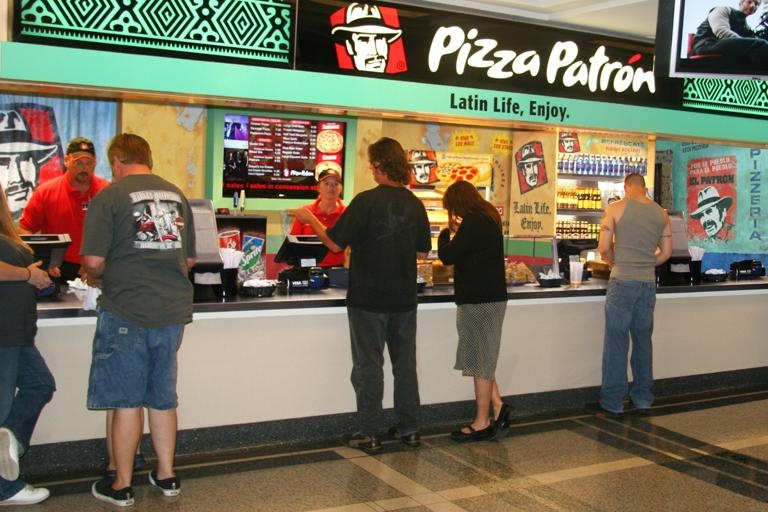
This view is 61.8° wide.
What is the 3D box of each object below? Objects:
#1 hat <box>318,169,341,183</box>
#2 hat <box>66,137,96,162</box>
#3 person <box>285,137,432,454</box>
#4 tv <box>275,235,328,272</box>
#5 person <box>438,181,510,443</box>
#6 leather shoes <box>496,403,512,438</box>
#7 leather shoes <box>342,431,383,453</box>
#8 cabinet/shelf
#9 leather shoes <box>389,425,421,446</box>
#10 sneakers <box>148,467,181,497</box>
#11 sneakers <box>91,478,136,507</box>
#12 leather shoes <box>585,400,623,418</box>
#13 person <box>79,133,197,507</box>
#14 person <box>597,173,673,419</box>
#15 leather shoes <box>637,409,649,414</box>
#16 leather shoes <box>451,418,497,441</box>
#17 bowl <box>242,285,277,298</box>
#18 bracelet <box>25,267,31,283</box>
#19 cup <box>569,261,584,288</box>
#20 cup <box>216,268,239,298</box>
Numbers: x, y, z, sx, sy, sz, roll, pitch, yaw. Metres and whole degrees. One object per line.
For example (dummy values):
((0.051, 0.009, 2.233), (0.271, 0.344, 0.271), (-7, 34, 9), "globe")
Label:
((-0.536, -0.804, 6.203), (0.292, 0.139, 0.450), (0, 4, -6), "hat")
((-2.653, -0.942, 5.612), (0.211, 0.150, 0.286), (1, 0, -31), "hat")
((-0.037, 0.295, 4.841), (0.794, 2.312, 0.458), (-1, 11, -13), "person")
((-0.694, -0.025, 5.310), (0.429, 0.249, 0.322), (1, -12, -44), "tv")
((0.715, 0.434, 5.075), (0.631, 2.020, 0.386), (2, 11, 4), "person")
((0.944, 1.299, 5.095), (0.114, 0.275, 0.097), (19, 5, 25), "leather shoes")
((-0.169, 1.406, 4.905), (0.271, 0.108, 0.125), (11, 9, 31), "leather shoes")
((2.699, -1.059, 9.346), (1.788, 1.613, 0.645), (9, 11, 37), "cabinet/shelf")
((0.142, 1.392, 5.070), (0.109, 0.115, 0.290), (-3, 14, -39), "leather shoes")
((-1.458, 1.493, 4.251), (0.106, 0.103, 0.259), (0, 10, -41), "sneakers")
((-1.750, 1.519, 4.167), (0.276, 0.110, 0.125), (11, 2, 30), "sneakers")
((1.955, 1.381, 5.735), (0.294, 0.117, 0.115), (13, 8, 23), "leather shoes")
((-1.564, 0.531, 4.126), (0.637, 2.071, 0.414), (-2, 11, -18), "person")
((2.195, 0.335, 5.775), (0.578, 2.108, 0.655), (5, 11, 19), "person")
((2.319, 1.400, 5.764), (0.046, 0.043, 0.117), (0, -3, -19), "leather shoes")
((0.709, 1.395, 5.154), (0.321, 0.122, 0.146), (2, -2, -8), "leather shoes")
((-0.991, 0.254, 4.928), (0.292, 0.096, 0.164), (2, 11, 4), "bowl")
((-2.217, 0.121, 3.991), (0.035, 0.090, 0.036), (3, 11, 6), "bracelet")
((1.789, 0.161, 5.992), (0.107, 0.225, 0.131), (2, 11, 3), "cup")
((-1.176, 0.195, 4.849), (0.118, 0.223, 0.209), (0, 11, -9), "cup")
